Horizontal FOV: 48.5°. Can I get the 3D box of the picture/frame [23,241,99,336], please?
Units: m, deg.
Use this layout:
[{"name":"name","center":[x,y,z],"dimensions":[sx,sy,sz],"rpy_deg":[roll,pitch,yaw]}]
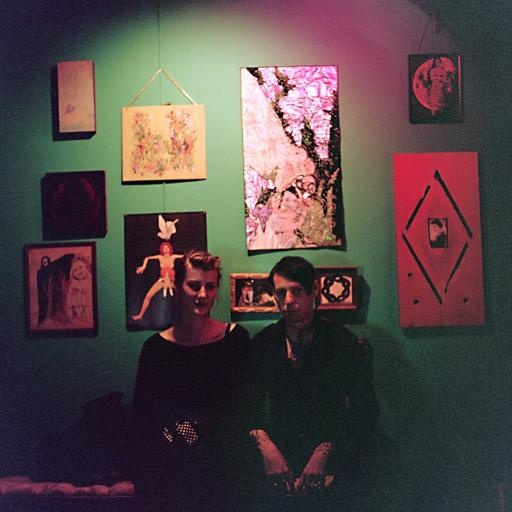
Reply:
[{"name":"picture/frame","center":[-1.095,0.200,3.235],"dimensions":[0.442,0.625,0.039],"rpy_deg":[-1,1,7]}]
